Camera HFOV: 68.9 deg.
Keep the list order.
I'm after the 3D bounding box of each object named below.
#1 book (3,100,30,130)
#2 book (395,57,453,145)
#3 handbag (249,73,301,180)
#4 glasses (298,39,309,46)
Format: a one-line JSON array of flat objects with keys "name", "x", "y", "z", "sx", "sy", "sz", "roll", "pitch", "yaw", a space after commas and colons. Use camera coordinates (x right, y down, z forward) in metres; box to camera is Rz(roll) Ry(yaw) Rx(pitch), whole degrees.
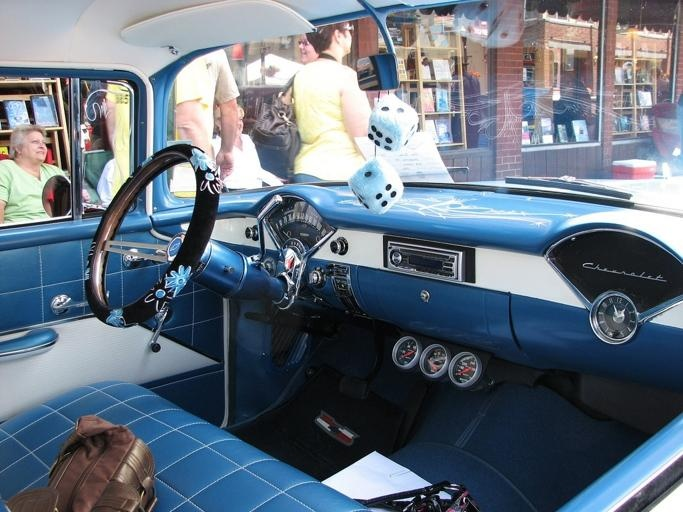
[{"name": "book", "x": -1.405, "y": -0.616, "z": 2.137, "sx": 0.087, "sy": 0.124, "sz": 0.013, "roll": -13, "pitch": 53, "yaw": -31}, {"name": "book", "x": 1.118, "y": -1.843, "z": 5.792, "sx": 0.838, "sy": 0.904, "sz": 0.474, "roll": 6, "pitch": 6, "yaw": -36}, {"name": "handbag", "x": -0.698, "y": -1.386, "z": 5.252, "sx": 0.529, "sy": 0.999, "sz": 0.725, "roll": 18, "pitch": 24, "yaw": -14}, {"name": "glasses", "x": -0.399, "y": -2.197, "z": 5.096, "sx": 0.083, "sy": 0.035, "sz": 0.090, "roll": 26, "pitch": 37, "yaw": 1}]
